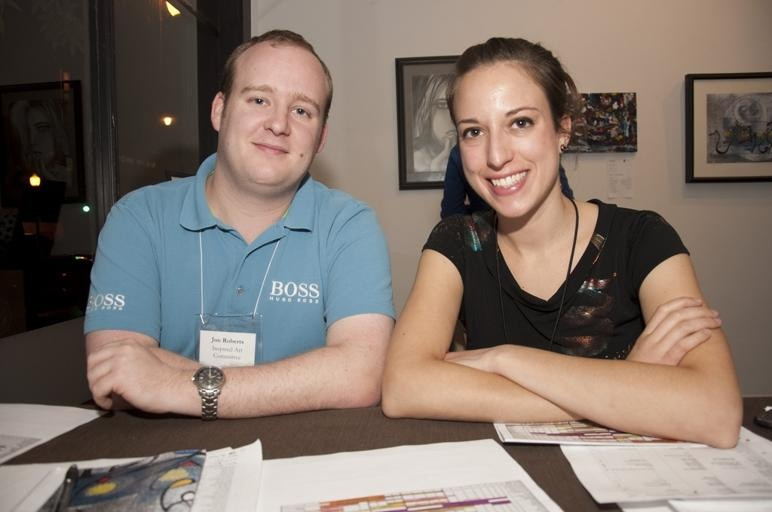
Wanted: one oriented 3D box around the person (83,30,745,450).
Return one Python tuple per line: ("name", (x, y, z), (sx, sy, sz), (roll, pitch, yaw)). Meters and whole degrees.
("person", (0.071, -0.181, 2.180), (2.295, 1.384, 0.878), (2, 12, 5))
